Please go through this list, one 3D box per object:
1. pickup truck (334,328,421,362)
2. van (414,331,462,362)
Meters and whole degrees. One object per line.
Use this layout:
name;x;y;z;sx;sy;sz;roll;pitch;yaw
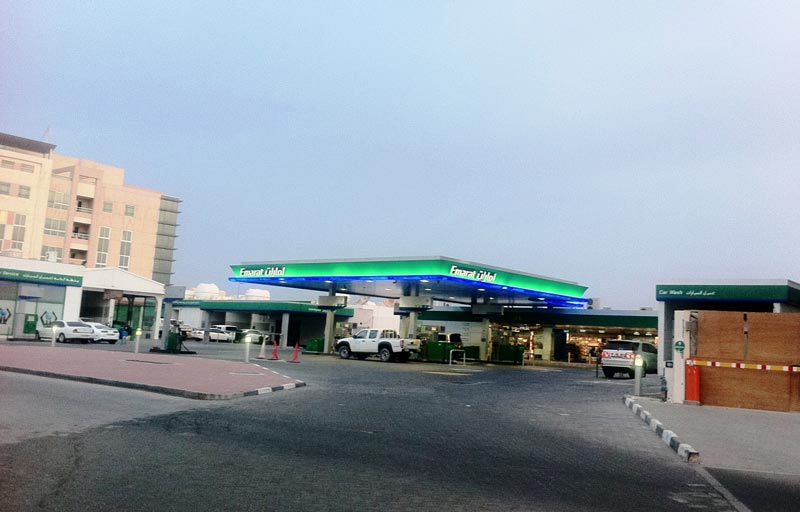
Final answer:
pickup truck;-1.559;7.130;40.521;6.079;2.008;2.740;1;-6;32
van;3.499;7.886;44.238;3.438;2.473;10.974;1;-9;5
